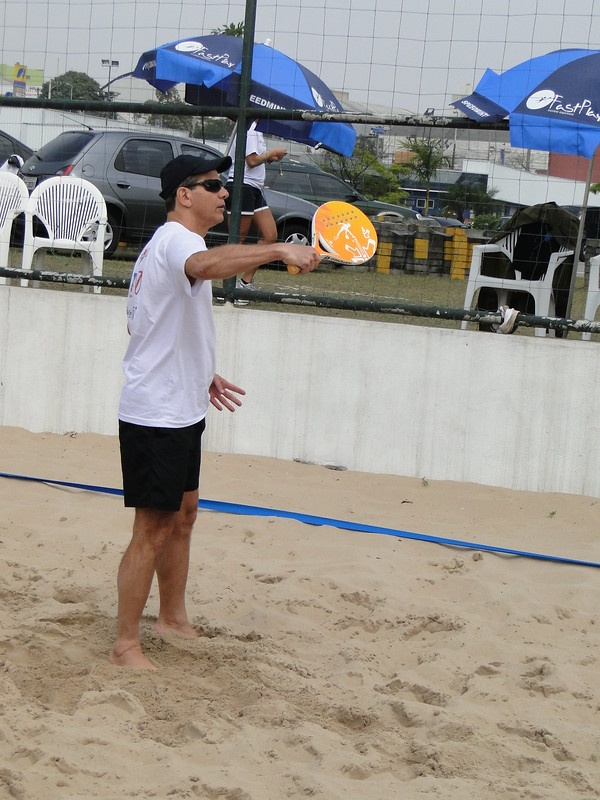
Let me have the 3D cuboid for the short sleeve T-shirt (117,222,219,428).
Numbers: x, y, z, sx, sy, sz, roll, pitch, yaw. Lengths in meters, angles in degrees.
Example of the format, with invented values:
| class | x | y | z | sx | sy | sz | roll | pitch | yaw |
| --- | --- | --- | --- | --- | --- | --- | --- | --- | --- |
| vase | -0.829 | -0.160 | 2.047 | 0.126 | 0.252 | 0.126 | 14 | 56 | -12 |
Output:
| class | x | y | z | sx | sy | sz | roll | pitch | yaw |
| --- | --- | --- | --- | --- | --- | --- | --- | --- | --- |
| short sleeve T-shirt | -0.477 | -0.270 | 3.993 | 0.352 | 0.765 | 0.374 | 7 | 5 | -6 |

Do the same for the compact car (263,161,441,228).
| class | x | y | z | sx | sy | sz | roll | pitch | yaw |
| --- | --- | --- | --- | --- | --- | --- | --- | --- | --- |
| compact car | 0.802 | -2.399 | 12.189 | 2.426 | 0.784 | 0.950 | 2 | 7 | 3 |

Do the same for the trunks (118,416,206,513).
| class | x | y | z | sx | sy | sz | roll | pitch | yaw |
| --- | --- | --- | --- | --- | --- | --- | --- | --- | --- |
| trunks | -0.474 | 0.222 | 4.230 | 0.375 | 0.378 | 0.564 | 2 | 3 | 8 |

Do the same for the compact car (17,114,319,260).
| class | x | y | z | sx | sy | sz | roll | pitch | yaw |
| --- | --- | --- | --- | --- | --- | --- | --- | --- | --- |
| compact car | -0.678 | -2.261 | 11.311 | 3.486 | 1.272 | 1.455 | 10 | 30 | 27 |

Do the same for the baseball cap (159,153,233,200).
| class | x | y | z | sx | sy | sz | roll | pitch | yaw |
| --- | --- | --- | --- | --- | --- | --- | --- | --- | --- |
| baseball cap | -0.391 | -0.866 | 4.136 | 0.265 | 0.122 | 0.155 | -31 | 9 | 2 |

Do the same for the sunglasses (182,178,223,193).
| class | x | y | z | sx | sy | sz | roll | pitch | yaw |
| --- | --- | --- | --- | --- | --- | --- | --- | --- | --- |
| sunglasses | -0.358 | -0.808 | 4.115 | 0.097 | 0.023 | 0.067 | 0 | 3 | 16 |
